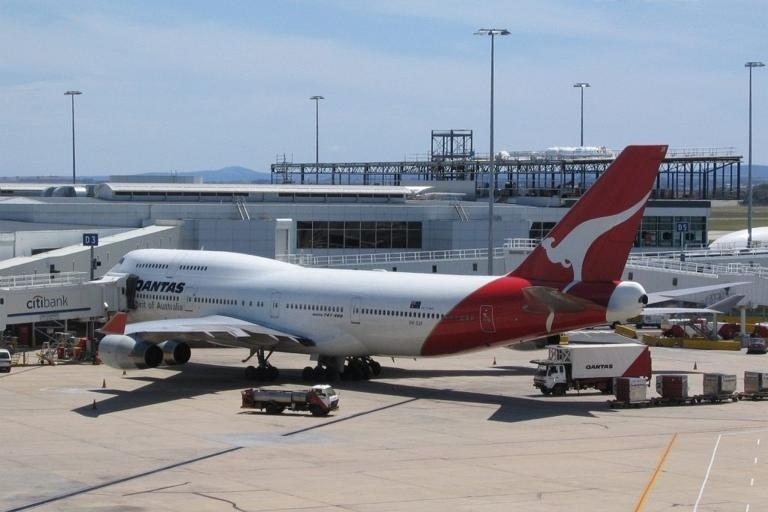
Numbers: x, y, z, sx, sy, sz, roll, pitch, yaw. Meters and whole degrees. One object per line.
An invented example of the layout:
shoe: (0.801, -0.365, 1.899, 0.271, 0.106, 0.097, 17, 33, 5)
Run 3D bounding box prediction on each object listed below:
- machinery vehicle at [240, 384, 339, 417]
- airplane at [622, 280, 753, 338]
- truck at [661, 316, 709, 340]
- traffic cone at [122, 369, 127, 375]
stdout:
machinery vehicle: (-4.630, 7.129, 67.876, 5.415, 1.222, 1.609, 0, 2, 6)
airplane: (17.540, 3.970, 83.392, 5.823, 1.783, 6.370, 6, 10, 42)
truck: (19.851, 4.771, 90.542, 2.766, 0.955, 1.439, 1, 2, 29)
traffic cone: (-14.612, 6.497, 76.088, 0.474, 0.350, 0.392, 0, -12, -8)
